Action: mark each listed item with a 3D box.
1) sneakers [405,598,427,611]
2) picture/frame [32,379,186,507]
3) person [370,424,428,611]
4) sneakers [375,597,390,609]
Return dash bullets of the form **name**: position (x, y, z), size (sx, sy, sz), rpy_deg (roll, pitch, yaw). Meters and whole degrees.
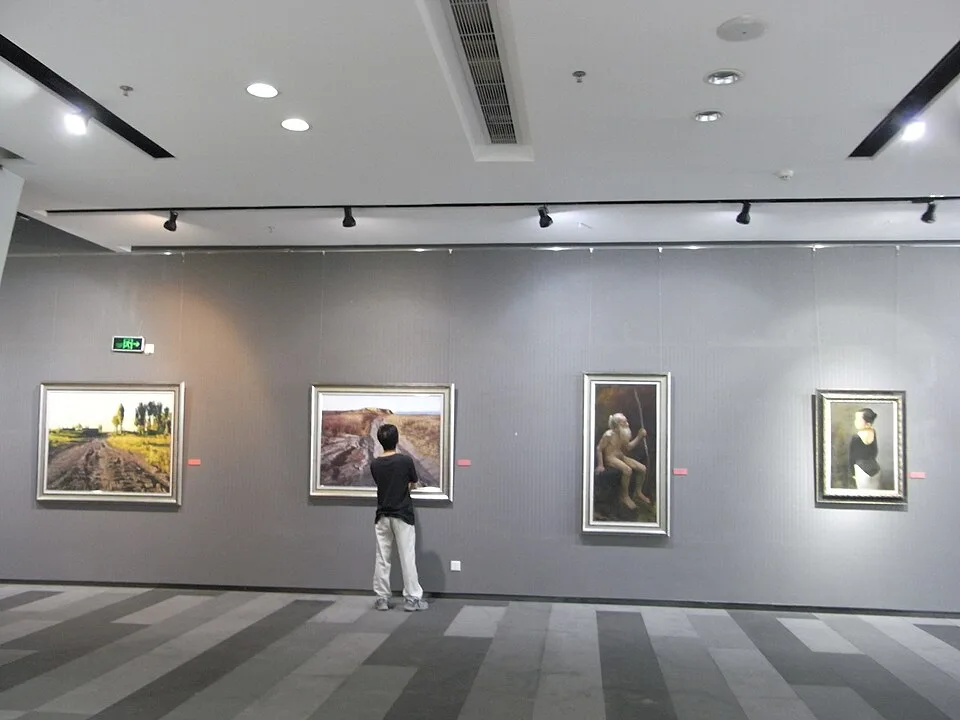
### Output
- **sneakers**: position (-0.747, 2.819, 7.628), size (0.297, 0.130, 0.101), rpy_deg (2, 0, -19)
- **picture/frame**: position (-4.769, 1.135, 8.516), size (1.587, 1.403, 0.131), rpy_deg (0, -3, 5)
- **person**: position (-0.951, 1.836, 7.814), size (0.698, 2.112, 0.558), rpy_deg (-1, -6, 15)
- **sneakers**: position (-1.131, 2.829, 7.649), size (0.141, 0.109, 0.146), rpy_deg (1, -2, -15)
